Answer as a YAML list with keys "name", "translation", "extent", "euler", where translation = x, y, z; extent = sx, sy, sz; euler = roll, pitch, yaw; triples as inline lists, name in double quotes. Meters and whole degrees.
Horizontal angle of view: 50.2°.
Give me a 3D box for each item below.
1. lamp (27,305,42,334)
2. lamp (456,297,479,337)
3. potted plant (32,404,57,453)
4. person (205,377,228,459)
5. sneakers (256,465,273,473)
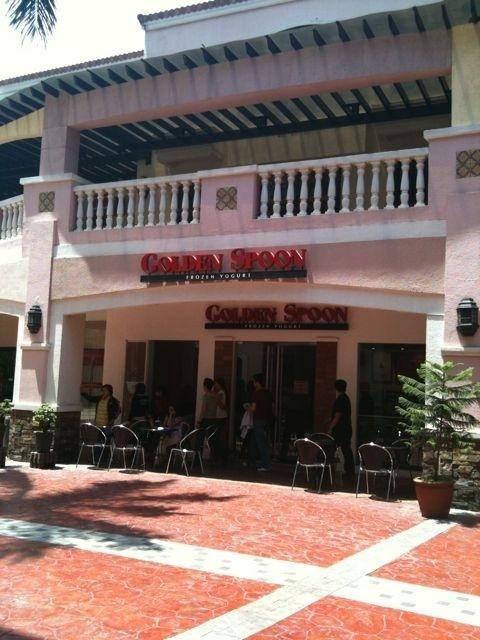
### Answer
- name: "lamp"
  translation: [-4.080, -0.008, 10.171]
  extent: [0.334, 0.590, 0.221]
  euler: [-3, -12, 27]
- name: "lamp"
  translation: [2.966, -0.032, 6.677]
  extent: [0.273, 0.507, 0.225]
  euler: [-2, -11, 22]
- name: "potted plant"
  translation: [-3.628, 2.014, 9.518]
  extent: [0.390, 0.862, 0.636]
  euler: [6, -11, -18]
- name: "person"
  translation: [-0.631, 2.014, 10.507]
  extent: [0.576, 1.701, 0.484]
  euler: [1, 15, -8]
- name: "sneakers"
  translation: [0.471, 2.808, 9.642]
  extent: [0.321, 0.133, 0.108]
  euler: [2, -1, 8]
